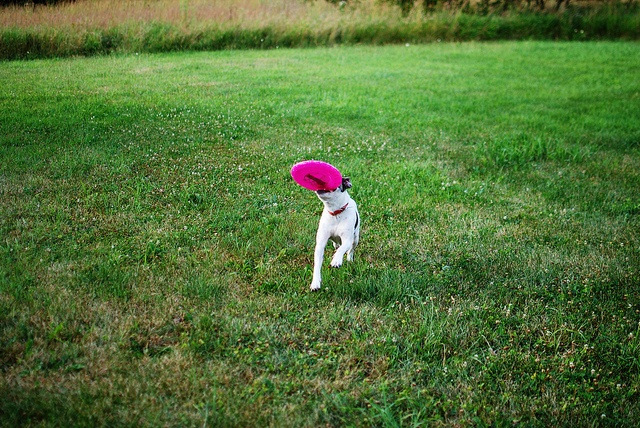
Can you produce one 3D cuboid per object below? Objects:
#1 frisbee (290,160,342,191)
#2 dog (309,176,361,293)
[{"bbox_3d":[-0.045,-0.703,11.905,0.602,0.138,0.591,29,-27,-35],"label":"frisbee"},{"bbox_3d":[0.267,0.315,12.340,0.689,1.924,1.325,13,25,25],"label":"dog"}]
